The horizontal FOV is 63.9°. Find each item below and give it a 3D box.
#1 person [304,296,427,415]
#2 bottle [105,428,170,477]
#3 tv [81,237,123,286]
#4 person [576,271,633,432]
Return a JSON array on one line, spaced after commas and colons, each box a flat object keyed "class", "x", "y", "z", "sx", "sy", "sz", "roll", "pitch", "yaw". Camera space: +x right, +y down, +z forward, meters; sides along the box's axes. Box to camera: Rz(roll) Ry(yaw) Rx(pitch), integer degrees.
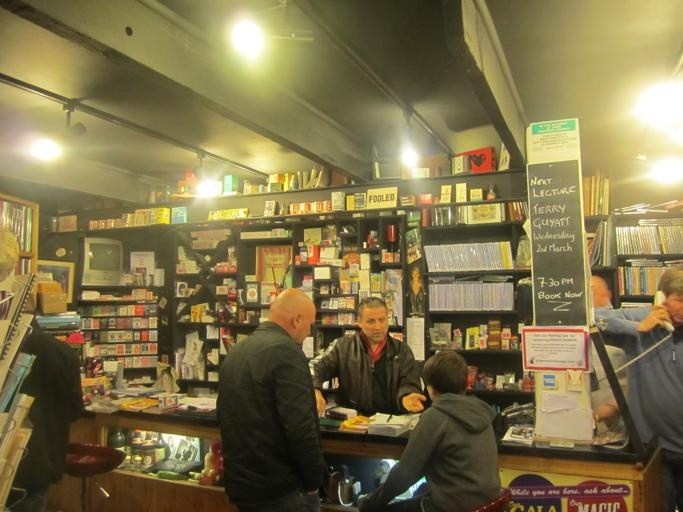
[{"class": "person", "x": 0.253, "y": 0.882, "z": 4.829, "sx": 1.030, "sy": 1.410, "sz": 0.949, "roll": 1, "pitch": -10, "yaw": -1}, {"class": "bottle", "x": -1.676, "y": 1.603, "z": 4.530, "sx": 0.526, "sy": 0.325, "sz": 0.131, "roll": -2, "pitch": -5, "yaw": 18}, {"class": "tv", "x": -3.507, "y": 0.095, "z": 7.983, "sx": 0.417, "sy": 0.780, "sz": 0.538, "roll": -22, "pitch": -19, "yaw": 39}, {"class": "person", "x": 2.349, "y": 0.717, "z": 4.845, "sx": 0.266, "sy": 1.190, "sz": 2.547, "roll": -3, "pitch": -5, "yaw": 26}]
